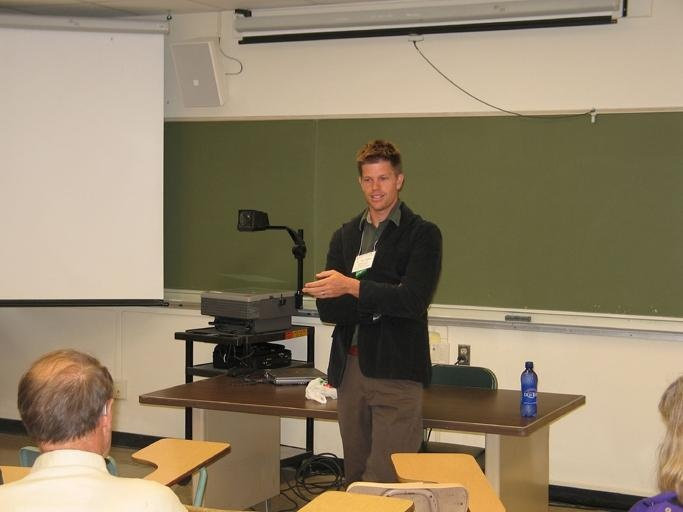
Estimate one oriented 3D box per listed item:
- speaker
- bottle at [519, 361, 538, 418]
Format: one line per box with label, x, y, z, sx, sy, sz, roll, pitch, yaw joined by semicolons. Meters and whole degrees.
speaker;-1.113;-1.383;4.652;0.423;0.486;0.167;3;4;16
bottle;0.882;0.627;2.868;0.078;0.243;0.138;3;4;18
